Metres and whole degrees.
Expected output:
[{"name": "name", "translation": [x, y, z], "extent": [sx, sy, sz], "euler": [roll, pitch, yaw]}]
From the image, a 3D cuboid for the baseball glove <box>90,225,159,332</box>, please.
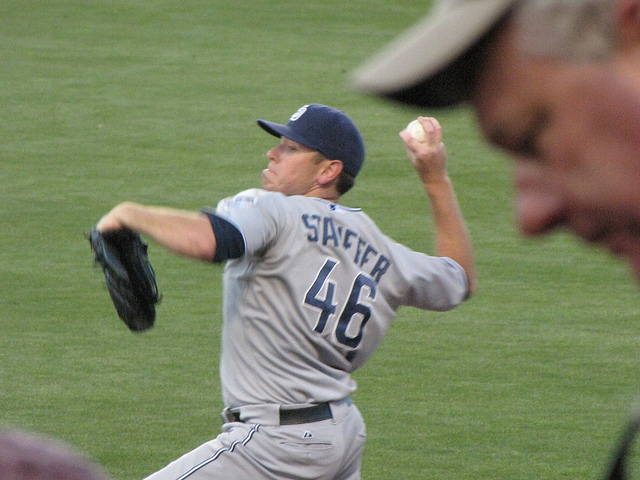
[{"name": "baseball glove", "translation": [-1.284, 0.228, 12.117], "extent": [0.383, 0.692, 0.410], "euler": [-10, 48, -11]}]
